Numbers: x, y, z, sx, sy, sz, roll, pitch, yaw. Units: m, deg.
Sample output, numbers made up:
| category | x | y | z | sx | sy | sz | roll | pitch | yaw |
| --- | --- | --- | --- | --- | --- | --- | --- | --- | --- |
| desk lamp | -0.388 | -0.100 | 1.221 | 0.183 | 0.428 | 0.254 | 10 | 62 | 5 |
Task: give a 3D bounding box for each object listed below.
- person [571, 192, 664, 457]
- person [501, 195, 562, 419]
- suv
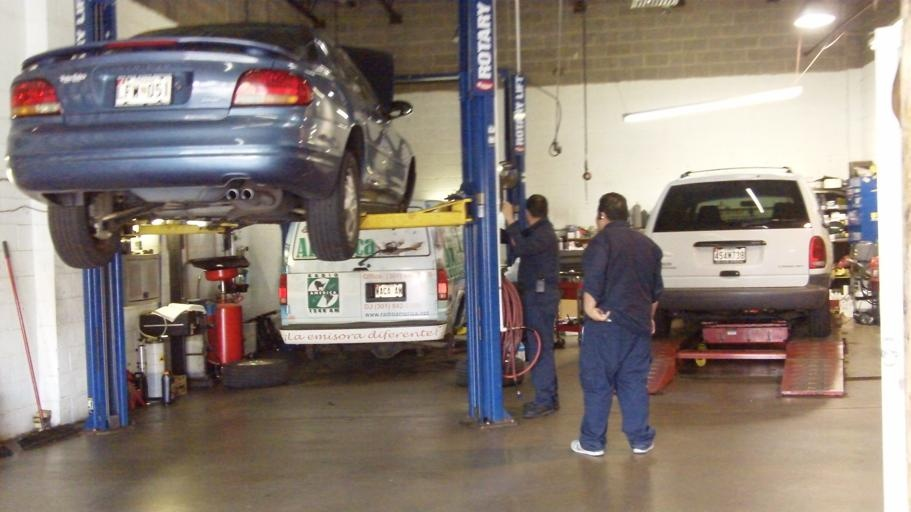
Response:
| category | x | y | z | sx | sy | sz | roll | pitch | yaw |
| --- | --- | --- | --- | --- | --- | --- | --- | --- | --- |
| person | 1.751 | 0.790 | 9.040 | 1.219 | 2.949 | 1.174 | 2 | -2 | -37 |
| person | 1.054 | 0.701 | 10.143 | 0.876 | 2.439 | 0.965 | 1 | 0 | 2 |
| suv | 4.421 | -0.159 | 11.581 | 2.234 | 1.846 | 5.110 | 0 | 1 | 27 |
